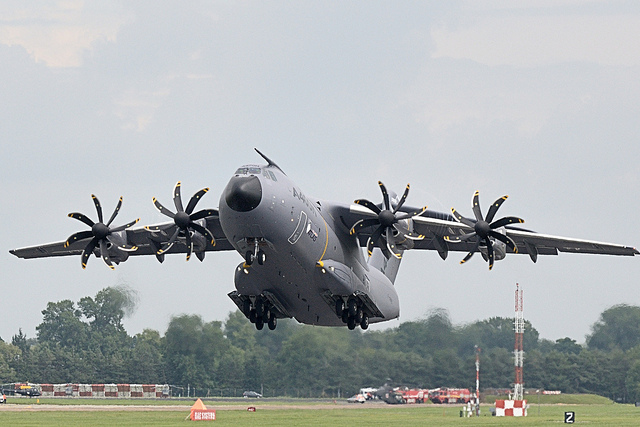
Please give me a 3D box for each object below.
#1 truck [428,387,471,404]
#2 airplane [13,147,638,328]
[{"bbox_3d":[12.402,17.418,122.919,4.750,1.639,1.784,4,-12,-7],"label":"truck"},{"bbox_3d":[-0.625,2.758,96.557,34.851,11.645,10.170,4,-11,-9],"label":"airplane"}]
